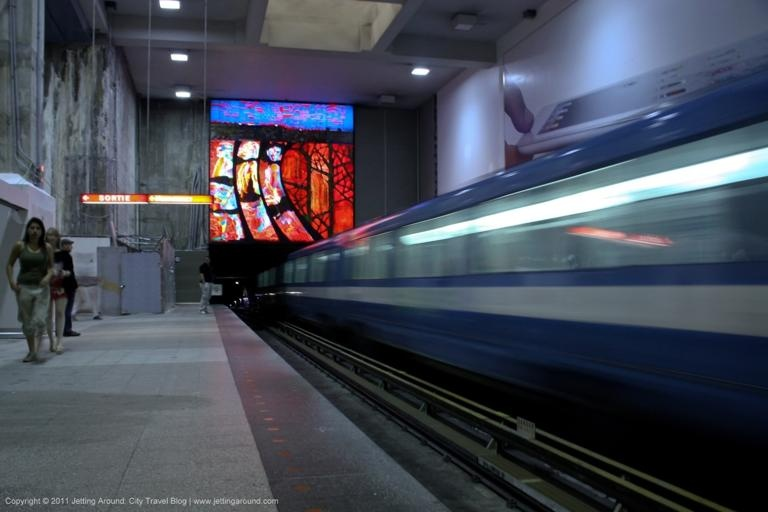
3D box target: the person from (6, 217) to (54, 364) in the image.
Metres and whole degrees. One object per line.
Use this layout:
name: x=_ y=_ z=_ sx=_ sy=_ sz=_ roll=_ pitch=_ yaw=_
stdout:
person: x=-5.593 y=0.517 z=7.842 sx=0.565 sy=2.024 sz=0.818 roll=3 pitch=-2 yaw=-36

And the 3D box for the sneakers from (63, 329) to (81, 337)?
sneakers: x=-7.051 y=1.747 z=11.278 sx=0.365 sy=0.149 sz=0.121 roll=1 pitch=1 yaw=-18

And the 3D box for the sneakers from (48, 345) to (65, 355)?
sneakers: x=-5.719 y=1.636 z=8.688 sx=0.325 sy=0.124 sz=0.117 roll=-15 pitch=-16 yaw=40
